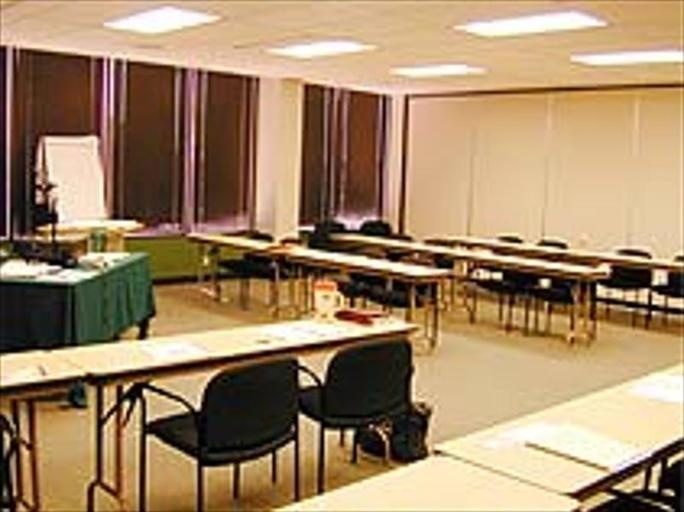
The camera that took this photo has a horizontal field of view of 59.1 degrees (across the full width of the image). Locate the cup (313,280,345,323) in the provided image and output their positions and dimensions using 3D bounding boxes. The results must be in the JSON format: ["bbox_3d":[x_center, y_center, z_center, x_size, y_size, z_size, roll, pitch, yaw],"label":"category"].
[{"bbox_3d":[-0.091,0.279,3.896,0.185,0.184,0.175,-1,1,0],"label":"cup"}]
